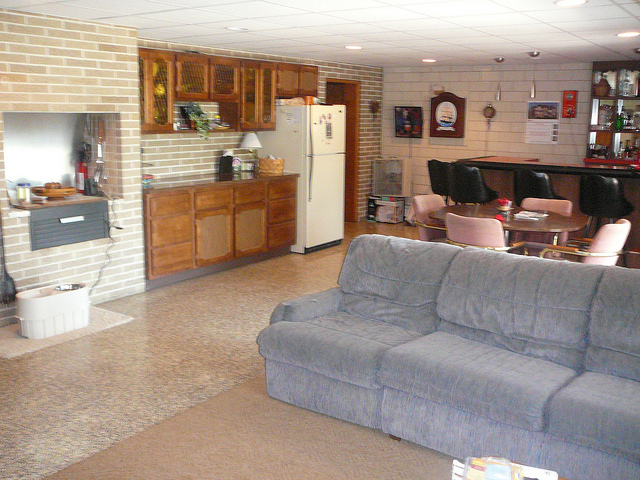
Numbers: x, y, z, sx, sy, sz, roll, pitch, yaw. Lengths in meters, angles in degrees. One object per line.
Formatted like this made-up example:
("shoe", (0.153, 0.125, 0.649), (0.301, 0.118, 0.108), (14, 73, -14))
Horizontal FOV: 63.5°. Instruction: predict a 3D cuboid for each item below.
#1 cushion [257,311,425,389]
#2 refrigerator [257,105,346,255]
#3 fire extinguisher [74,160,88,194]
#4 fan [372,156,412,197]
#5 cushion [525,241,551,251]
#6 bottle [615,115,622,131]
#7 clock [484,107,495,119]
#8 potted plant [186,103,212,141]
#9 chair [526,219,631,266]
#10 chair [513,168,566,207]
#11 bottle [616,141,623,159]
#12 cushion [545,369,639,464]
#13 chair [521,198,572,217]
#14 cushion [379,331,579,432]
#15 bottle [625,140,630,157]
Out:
("cushion", (0.069, 0.696, 3.740), (1.089, 0.208, 0.888), (6, 9, 6))
("refrigerator", (-0.198, -0.877, 7.621), (1.187, 2.151, 0.648), (-4, 17, -2))
("fire extinguisher", (-2.612, -0.700, 5.742), (0.192, 0.375, 0.140), (6, 12, 5))
("fan", (1.350, -1.166, 9.662), (1.031, 0.744, 0.378), (5, 11, 26))
("cushion", (2.276, 0.081, 5.434), (0.191, 0.034, 0.169), (7, 11, 34))
("bottle", (4.548, -1.793, 7.886), (0.107, 0.229, 0.123), (4, 18, 24))
("clock", (2.921, -2.215, 8.953), (0.220, 0.160, 0.051), (19, 16, 32))
("potted plant", (-1.526, -1.502, 6.534), (0.211, 0.412, 0.182), (-10, 18, -22))
("chair", (2.516, 0.021, 5.092), (0.790, 0.613, 0.621), (10, 16, 38))
("chair", (3.021, -0.707, 6.701), (0.652, 0.534, 0.499), (-11, 18, -31))
("bottle", (4.803, -1.452, 8.273), (0.073, 0.252, 0.326), (6, 16, 28))
("cushion", (1.560, 0.958, 2.863), (0.458, 0.257, 0.573), (7, 15, 35))
("chair", (2.608, -0.382, 5.965), (0.379, 0.338, 0.387), (2, 3, 34))
("cushion", (0.979, 0.849, 3.201), (1.008, 0.302, 0.610), (6, 15, 34))
("bottle", (4.892, -1.459, 8.227), (0.074, 0.260, 0.342), (7, 16, 30))
